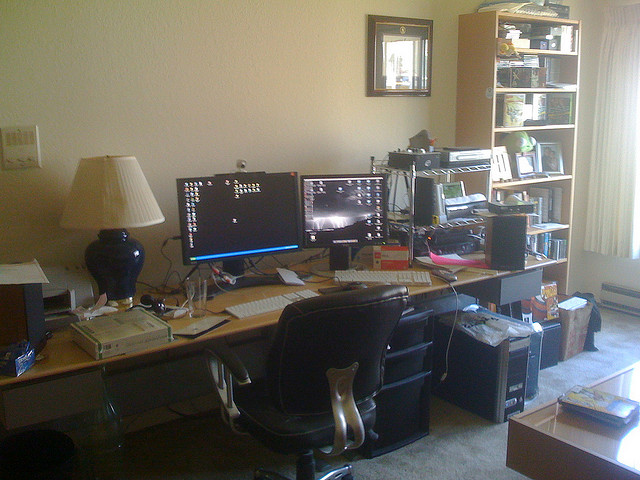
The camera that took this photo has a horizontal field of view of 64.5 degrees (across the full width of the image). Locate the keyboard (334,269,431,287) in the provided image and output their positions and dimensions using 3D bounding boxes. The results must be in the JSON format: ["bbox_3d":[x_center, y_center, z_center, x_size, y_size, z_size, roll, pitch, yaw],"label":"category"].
[{"bbox_3d":[0.373,0.221,3.009,0.568,0.060,0.221,-2,11,4],"label":"keyboard"}]

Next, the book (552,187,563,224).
[{"bbox_3d":[1.979,-0.291,4.205,0.053,0.216,0.224,4,5,11],"label":"book"}]

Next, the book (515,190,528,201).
[{"bbox_3d":[1.638,-0.366,4.110,0.095,0.069,0.310,2,12,20],"label":"book"}]

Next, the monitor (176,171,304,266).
[{"bbox_3d":[-0.467,-0.136,2.875,0.563,0.390,0.057,-7,10,-25],"label":"monitor"}]

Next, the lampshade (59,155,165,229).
[{"bbox_3d":[-1.127,-0.262,2.734,0.584,0.367,0.591,-6,9,-27],"label":"lampshade"}]

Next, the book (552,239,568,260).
[{"bbox_3d":[1.993,0.073,4.178,0.133,0.155,0.056,-5,12,-10],"label":"book"}]

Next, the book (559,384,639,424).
[{"bbox_3d":[1.404,0.822,2.549,0.326,0.050,0.189,6,14,37],"label":"book"}]

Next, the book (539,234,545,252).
[{"bbox_3d":[1.818,0.023,4.137,0.052,0.150,0.012,-8,13,-23],"label":"book"}]

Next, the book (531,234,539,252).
[{"bbox_3d":[1.741,0.024,4.089,0.133,0.143,0.013,-14,16,-42],"label":"book"}]

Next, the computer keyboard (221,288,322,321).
[{"bbox_3d":[-0.241,0.332,2.687,0.541,0.042,0.205,-10,13,-32],"label":"computer keyboard"}]

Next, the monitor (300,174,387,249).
[{"bbox_3d":[0.131,-0.188,3.104,0.479,0.359,0.050,-1,4,-12],"label":"monitor"}]

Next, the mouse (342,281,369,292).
[{"bbox_3d":[0.192,0.250,2.744,0.072,0.029,0.097,2,7,26],"label":"mouse"}]

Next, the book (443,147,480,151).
[{"bbox_3d":[0.954,-0.632,3.520,0.228,0.017,0.358,-2,11,3],"label":"book"}]

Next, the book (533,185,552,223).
[{"bbox_3d":[1.837,-0.288,4.169,0.037,0.338,0.265,-3,8,-13],"label":"book"}]

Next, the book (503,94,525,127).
[{"bbox_3d":[1.464,-0.973,3.819,0.238,0.221,0.054,-9,12,-28],"label":"book"}]

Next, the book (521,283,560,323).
[{"bbox_3d":[1.673,0.485,3.917,0.172,0.281,0.317,-3,-8,-17],"label":"book"}]

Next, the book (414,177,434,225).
[{"bbox_3d":[0.681,-0.253,3.303,0.119,0.298,0.081,4,14,29],"label":"book"}]

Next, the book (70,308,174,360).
[{"bbox_3d":[-0.919,0.423,2.349,0.417,0.103,0.288,-9,13,-29],"label":"book"}]
